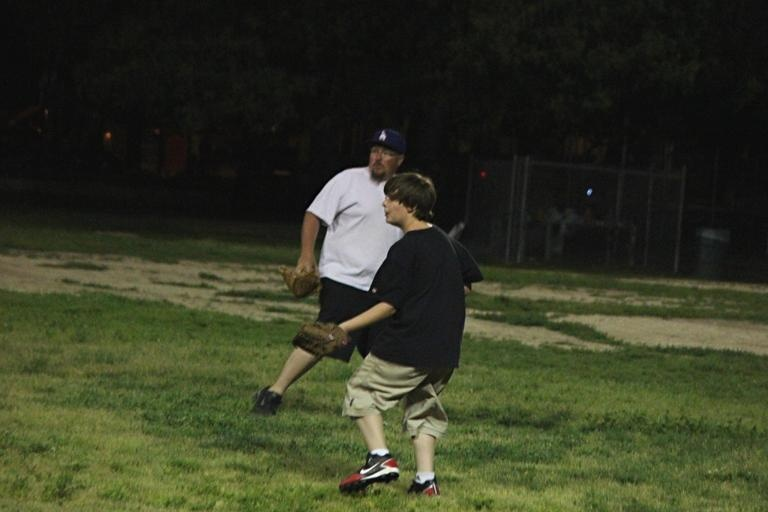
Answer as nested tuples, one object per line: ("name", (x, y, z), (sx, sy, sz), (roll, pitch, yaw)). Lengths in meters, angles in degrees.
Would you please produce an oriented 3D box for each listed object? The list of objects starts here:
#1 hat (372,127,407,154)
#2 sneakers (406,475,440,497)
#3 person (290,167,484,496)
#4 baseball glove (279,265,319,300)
("hat", (0.070, -1.196, 9.455), (0.274, 0.256, 0.394), (14, 18, 37))
("sneakers", (0.360, 2.098, 8.272), (0.314, 0.159, 0.120), (0, 0, 39))
("person", (0.176, 0.734, 8.225), (1.395, 2.874, 0.872), (3, 14, 1))
("baseball glove", (-0.928, 0.238, 9.670), (0.373, 0.419, 0.279), (-19, 21, -18))
